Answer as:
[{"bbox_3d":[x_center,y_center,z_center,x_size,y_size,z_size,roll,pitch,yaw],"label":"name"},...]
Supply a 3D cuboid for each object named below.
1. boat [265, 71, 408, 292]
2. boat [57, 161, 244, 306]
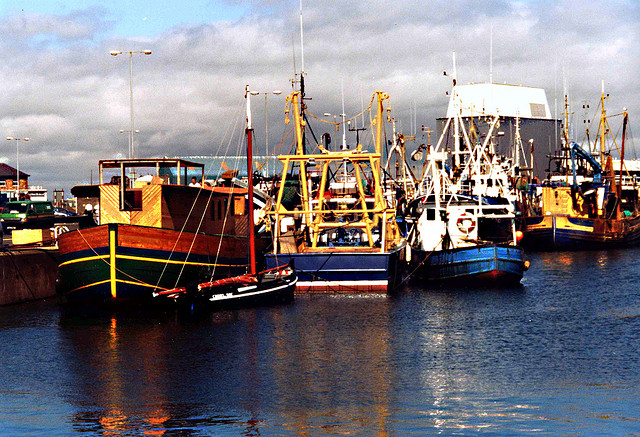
[{"bbox_3d":[1.226,-0.174,66.002,6.429,10.531,19.980,-2,-8,5],"label":"boat"},{"bbox_3d":[-6.198,0.653,56.795,5.402,4.938,11.797,-1,-3,16],"label":"boat"}]
